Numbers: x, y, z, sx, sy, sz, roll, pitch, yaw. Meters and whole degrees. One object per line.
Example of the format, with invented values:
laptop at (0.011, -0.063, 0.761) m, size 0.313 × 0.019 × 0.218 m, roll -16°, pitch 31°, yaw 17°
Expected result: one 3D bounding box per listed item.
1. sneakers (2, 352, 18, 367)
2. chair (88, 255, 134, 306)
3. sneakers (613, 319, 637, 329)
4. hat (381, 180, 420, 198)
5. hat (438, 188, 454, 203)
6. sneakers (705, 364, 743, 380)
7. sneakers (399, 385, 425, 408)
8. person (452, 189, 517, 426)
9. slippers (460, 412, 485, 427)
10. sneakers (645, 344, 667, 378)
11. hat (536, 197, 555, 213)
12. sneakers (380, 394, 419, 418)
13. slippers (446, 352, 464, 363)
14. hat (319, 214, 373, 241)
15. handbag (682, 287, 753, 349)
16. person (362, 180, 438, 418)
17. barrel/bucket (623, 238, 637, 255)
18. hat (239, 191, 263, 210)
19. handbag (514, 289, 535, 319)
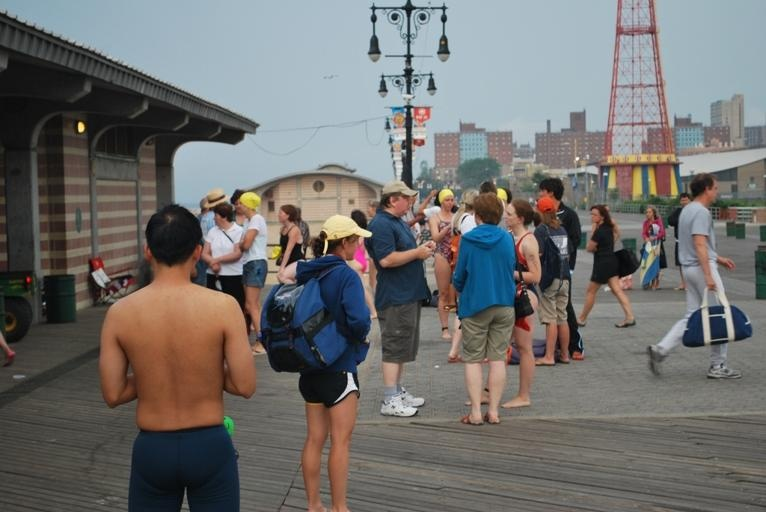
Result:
sneakers at (-5.542, 1.531, 10.312) m, size 0.212 × 0.237 × 0.158 m, roll 11°, pitch 9°, yaw 30°
chair at (-6.220, 0.574, 15.725) m, size 0.635 × 0.968 × 0.643 m, roll 6°, pitch 9°, yaw 1°
sneakers at (4.418, 1.266, 12.723) m, size 0.420 × 0.182 × 0.162 m, roll 0°, pitch 4°, yaw 16°
hat at (0.195, -0.792, 8.283) m, size 0.384 × 0.167 × 0.266 m, roll 1°, pitch 6°, yaw -7°
hat at (0.996, -0.973, 11.221) m, size 0.248 × 0.230 × 0.183 m, roll 5°, pitch 12°, yaw 39°
sneakers at (4.557, 1.565, 9.284) m, size 0.413 × 0.227 × 0.181 m, roll 0°, pitch 2°, yaw 6°
sneakers at (0.283, 1.736, 8.573) m, size 0.443 × 0.235 × 0.167 m, roll 11°, pitch 7°, yaw -4°
person at (1.174, 0.613, 8.036) m, size 0.711 × 2.628 × 0.514 m, roll -7°, pitch 8°, yaw -32°
slippers at (1.030, 1.901, 7.998) m, size 0.198 × 0.090 × 0.120 m, roll 8°, pitch -2°, yaw 4°
sneakers at (3.686, 1.382, 9.416) m, size 0.251 × 0.659 × 0.207 m, roll -9°, pitch 15°, yaw -13°
hat at (2.319, -0.712, 9.929) m, size 0.172 × 0.152 × 0.257 m, roll -4°, pitch 18°, yaw -2°
sneakers at (0.201, 1.797, 8.257) m, size 0.457 × 0.268 × 0.198 m, roll 2°, pitch 4°, yaw 5°
slippers at (1.088, 1.554, 10.532) m, size 0.087 × 0.133 × 0.269 m, roll 4°, pitch 10°, yaw 38°
hat at (-0.360, -0.259, 6.355) m, size 0.325 × 0.171 × 0.227 m, roll -5°, pitch 11°, yaw -16°
handbag at (4.666, 0.907, 9.705) m, size 0.847 × 0.898 × 0.333 m, roll -4°, pitch -6°, yaw 4°
person at (0.217, 0.514, 8.281) m, size 0.667 × 2.786 × 0.686 m, roll -7°, pitch 8°, yaw -33°
barrel/bucket at (7.080, -0.267, 19.907) m, size 0.478 × 0.589 × 0.389 m, roll 0°, pitch 0°, yaw 4°
hat at (-2.195, -0.882, 11.343) m, size 0.306 × 0.271 × 0.298 m, roll 10°, pitch 22°, yaw 23°
handbag at (1.662, 0.592, 8.212) m, size 0.159 × 0.322 × 0.308 m, roll -4°, pitch -10°, yaw -15°
